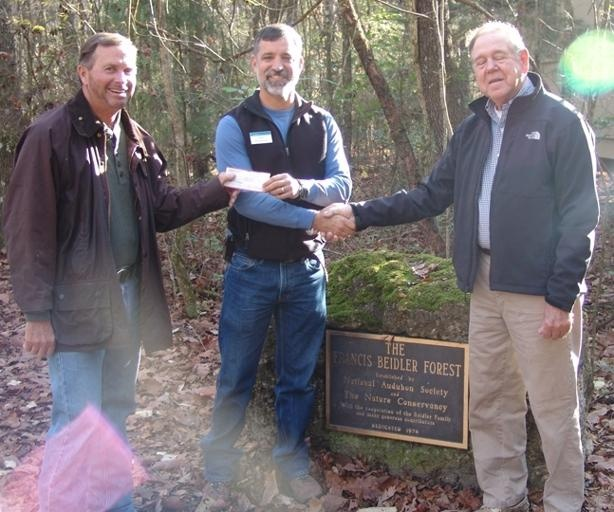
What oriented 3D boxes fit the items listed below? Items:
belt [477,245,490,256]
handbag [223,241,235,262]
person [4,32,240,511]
[{"bbox_3d":[1.193,-0.038,3.907,0.047,0.041,0.067,9,-33,22],"label":"belt"},{"bbox_3d":[-0.574,-0.028,4.289,0.075,0.161,0.037,2,-6,30],"label":"handbag"},{"bbox_3d":[-1.297,-0.043,3.757,0.505,2.715,1.166,6,11,37],"label":"person"}]
